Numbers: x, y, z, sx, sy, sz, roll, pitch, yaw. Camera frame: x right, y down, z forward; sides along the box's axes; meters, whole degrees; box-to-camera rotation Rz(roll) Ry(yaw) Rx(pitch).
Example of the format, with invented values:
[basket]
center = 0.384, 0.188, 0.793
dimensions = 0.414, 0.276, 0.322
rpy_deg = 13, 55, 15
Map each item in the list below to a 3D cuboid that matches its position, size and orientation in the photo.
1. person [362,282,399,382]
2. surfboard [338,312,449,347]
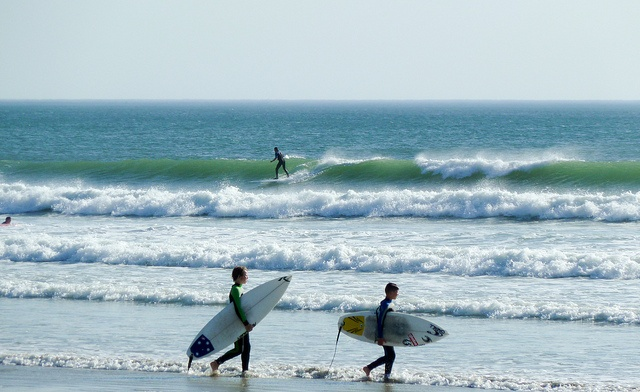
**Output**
[person]
center = 2.617, 5.870, 57.141
dimensions = 1.189, 4.049, 1.572
rpy_deg = 3, -12, 2
[surfboard]
center = 3.062, 5.815, 57.744
dimensions = 5.896, 1.513, 0.730
rpy_deg = 5, -1, -3
